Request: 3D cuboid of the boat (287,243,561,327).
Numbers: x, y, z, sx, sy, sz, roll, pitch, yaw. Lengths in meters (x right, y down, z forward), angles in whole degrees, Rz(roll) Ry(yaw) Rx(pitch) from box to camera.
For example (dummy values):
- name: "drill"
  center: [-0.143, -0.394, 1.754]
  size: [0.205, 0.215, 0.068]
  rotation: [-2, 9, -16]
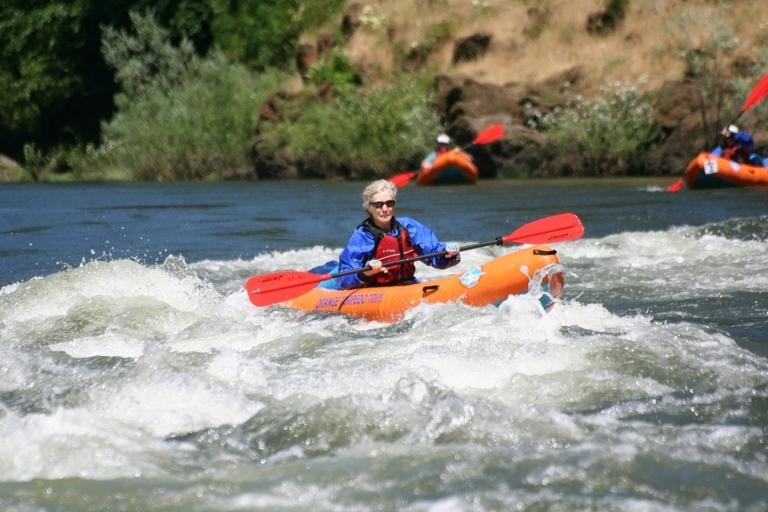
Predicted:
- name: "boat"
  center: [0.843, 0.640, 19.471]
  size: [3.525, 0.636, 1.721]
  rotation: [-16, -5, 15]
